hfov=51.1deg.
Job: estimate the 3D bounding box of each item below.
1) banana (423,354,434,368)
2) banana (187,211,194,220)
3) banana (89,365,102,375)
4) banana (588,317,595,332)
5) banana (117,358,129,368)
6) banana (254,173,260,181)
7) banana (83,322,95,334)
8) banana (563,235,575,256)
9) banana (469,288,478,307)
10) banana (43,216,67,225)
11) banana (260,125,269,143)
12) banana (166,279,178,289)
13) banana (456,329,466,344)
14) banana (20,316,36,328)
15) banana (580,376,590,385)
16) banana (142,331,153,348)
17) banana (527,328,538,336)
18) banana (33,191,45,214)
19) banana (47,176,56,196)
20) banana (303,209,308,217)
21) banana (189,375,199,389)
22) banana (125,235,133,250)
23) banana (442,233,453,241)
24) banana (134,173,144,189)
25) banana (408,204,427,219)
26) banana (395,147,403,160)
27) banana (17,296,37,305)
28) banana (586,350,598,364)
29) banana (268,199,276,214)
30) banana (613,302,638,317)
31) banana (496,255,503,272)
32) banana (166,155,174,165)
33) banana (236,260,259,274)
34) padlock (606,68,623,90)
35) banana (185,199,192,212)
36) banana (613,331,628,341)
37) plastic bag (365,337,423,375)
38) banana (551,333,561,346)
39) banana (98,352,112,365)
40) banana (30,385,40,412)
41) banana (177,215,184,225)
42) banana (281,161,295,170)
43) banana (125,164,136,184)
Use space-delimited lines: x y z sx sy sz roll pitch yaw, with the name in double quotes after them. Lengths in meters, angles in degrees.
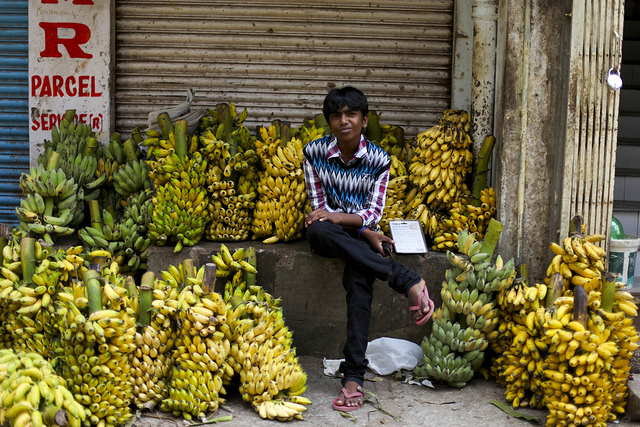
0.964 1.335 6.071 0.037 0.048 0.137 16 26 -49 "banana"
-1.246 0.010 6.404 0.015 0.071 0.042 7 15 33 "banana"
-1.785 1.252 5.321 0.086 0.058 0.049 -14 -12 39 "banana"
2.278 0.939 5.644 0.032 0.122 0.040 -2 -3 34 "banana"
-1.597 1.214 5.441 0.031 0.115 0.040 40 24 -25 "banana"
-0.649 -0.378 6.751 0.047 0.065 0.029 7 10 20 "banana"
-1.822 0.904 5.278 0.096 0.059 0.064 42 -2 35 "banana"
2.188 0.287 5.928 0.102 0.066 0.231 -12 34 7 "banana"
1.360 0.740 5.976 0.041 0.170 0.054 10 -11 16 "banana"
-2.588 0.063 6.510 0.147 0.093 0.052 9 8 0 "banana"
-0.570 -0.821 6.739 0.049 0.184 0.059 -18 -13 -16 "banana"
-1.348 0.634 6.086 0.102 0.058 0.034 33 14 -13 "banana"
1.252 1.095 5.960 0.045 0.098 0.031 29 17 13 "banana"
-2.428 0.897 5.577 0.113 0.037 0.032 43 9 -32 "banana"
2.157 1.370 5.477 0.040 0.050 0.088 -8 -1 -5 "banana"
-1.435 1.042 5.564 0.081 0.125 0.021 2 2 6 "banana"
1.836 1.027 5.804 0.081 0.072 0.041 3 2 16 "banana"
-2.726 -0.112 6.506 0.067 0.221 0.058 -16 8 10 "banana"
-2.620 -0.274 6.514 0.055 0.171 0.047 -6 9 40 "banana"
-0.152 -0.020 6.616 0.021 0.116 0.030 -6 33 2 "banana"
-1.038 1.391 5.530 0.038 0.118 0.036 -36 4 -37 "banana"
-1.894 0.278 6.622 0.062 0.136 0.041 3 15 3 "banana"
1.259 0.224 6.635 0.042 0.038 0.127 2 20 -45 "banana"
-1.869 -0.335 6.890 0.046 0.207 0.075 -26 17 -16 "banana"
0.983 -0.041 6.773 0.090 0.076 0.257 14 48 42 "banana"
0.819 -0.653 7.041 0.035 0.125 0.037 7 -37 33 "banana"
-2.416 0.721 5.547 0.158 0.047 0.059 5 42 -3 "banana"
2.226 1.179 5.495 0.062 0.126 0.040 21 -18 15 "banana"
-0.474 -0.081 6.533 0.054 0.109 0.032 -17 -4 30 "banana"
2.618 0.826 5.760 0.188 0.088 0.103 3 2 17 "banana"
1.608 0.447 6.030 0.036 0.150 0.050 11 6 26 "banana"
-1.455 -0.531 6.488 0.028 0.081 0.059 -33 16 20 "banana"
-0.679 0.500 6.247 0.236 0.073 0.071 39 17 -14 "banana"
2.680 -1.243 6.184 0.125 0.205 0.045 -1 -3 3 "padlock"
-1.262 -0.087 6.431 0.032 0.116 0.075 3 2 33 "banana"
2.560 1.049 5.715 0.131 0.038 0.048 35 -17 7 "banana"
0.695 1.349 6.305 0.530 0.300 0.227 3 2 1 "plastic bag"
1.954 1.049 5.553 0.044 0.102 0.031 9 -6 19 "banana"
-1.726 1.156 5.353 0.059 0.106 0.053 52 4 -42 "banana"
-2.193 1.427 5.151 0.065 0.176 0.085 1 2 -34 "banana"
-1.335 0.055 6.377 0.032 0.122 0.037 1 1 16 "banana"
-0.311 -0.464 6.513 0.112 0.069 0.052 31 -3 -11 "banana"
-1.946 -0.427 6.908 0.051 0.207 0.067 -22 7 7 "banana"
